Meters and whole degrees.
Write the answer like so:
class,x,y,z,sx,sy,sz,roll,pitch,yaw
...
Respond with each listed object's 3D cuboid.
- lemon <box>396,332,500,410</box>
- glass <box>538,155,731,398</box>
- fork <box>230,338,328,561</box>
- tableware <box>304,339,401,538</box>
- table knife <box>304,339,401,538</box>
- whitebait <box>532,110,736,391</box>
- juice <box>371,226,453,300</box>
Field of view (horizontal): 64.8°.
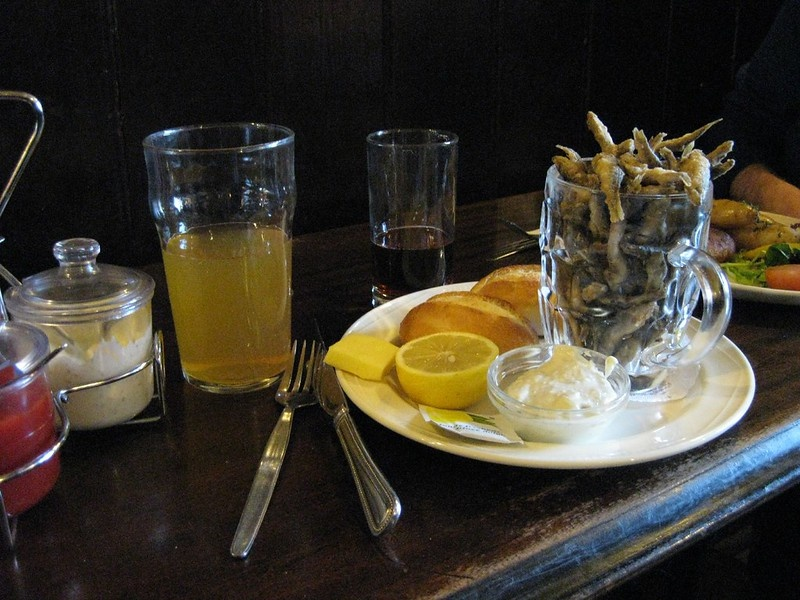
class,x,y,z,sx,sy,sz,roll,pitch,yaw
lemon,0.055,0.092,0.660,0.098,0.056,0.095,4,9,-23
glass,0.257,-0.003,0.672,0.224,0.217,0.148,13,17,40
fork,-0.112,0.132,0.595,0.027,0.023,0.197,5,43,7
tableware,-0.062,0.113,0.627,0.033,0.015,0.328,-28,32,-5
table knife,-0.060,0.113,0.625,0.033,0.015,0.324,-29,33,-5
whitebait,0.206,-0.066,0.698,0.191,0.302,0.299,-2,23,-3
juice,0.023,-0.053,0.922,0.107,0.104,0.096,3,22,10
